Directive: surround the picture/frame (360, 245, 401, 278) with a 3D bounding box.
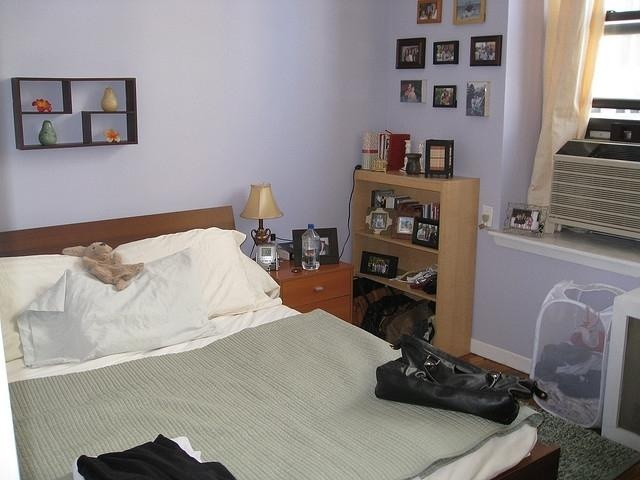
[{"bbox_3d":[0.503,0.191,3.825,0.227,0.168,0.025,8,8,29],"label":"picture/frame"}]

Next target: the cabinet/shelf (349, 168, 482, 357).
[{"bbox_3d":[0.746,0.173,3.417,0.363,1.473,1.151,-4,11,-34],"label":"cabinet/shelf"}]

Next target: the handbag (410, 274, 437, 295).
[{"bbox_3d":[0.805,0.338,3.448,0.171,0.067,0.105,-14,20,-35],"label":"handbag"}]

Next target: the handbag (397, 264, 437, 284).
[{"bbox_3d":[0.777,0.285,3.625,0.202,0.069,0.162,-22,18,-20],"label":"handbag"}]

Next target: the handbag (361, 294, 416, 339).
[{"bbox_3d":[0.534,0.557,3.625,0.322,0.142,0.340,7,23,25],"label":"handbag"}]

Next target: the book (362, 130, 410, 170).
[{"bbox_3d":[0.525,-0.712,3.752,0.291,0.376,0.364,-2,8,-34],"label":"book"}]

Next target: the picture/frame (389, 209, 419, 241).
[{"bbox_3d":[0.674,-0.117,3.609,0.192,0.241,0.022,14,10,36],"label":"picture/frame"}]

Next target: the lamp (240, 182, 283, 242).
[{"bbox_3d":[-0.434,-0.210,3.278,0.296,0.459,0.307,6,19,20],"label":"lamp"}]

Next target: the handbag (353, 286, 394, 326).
[{"bbox_3d":[0.418,0.498,3.656,0.104,0.312,0.227,12,-5,40],"label":"handbag"}]

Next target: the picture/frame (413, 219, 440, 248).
[{"bbox_3d":[0.809,-0.050,3.433,0.018,0.166,0.176,0,11,-38],"label":"picture/frame"}]

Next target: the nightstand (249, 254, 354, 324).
[{"bbox_3d":[-0.093,0.307,3.317,0.542,0.541,0.398,-10,16,-35],"label":"nightstand"}]

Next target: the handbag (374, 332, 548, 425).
[{"bbox_3d":[0.556,0.496,1.846,0.518,0.171,0.318,12,16,22],"label":"handbag"}]

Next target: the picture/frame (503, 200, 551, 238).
[{"bbox_3d":[1.437,-0.140,3.154,0.076,0.213,0.228,2,4,-44],"label":"picture/frame"}]

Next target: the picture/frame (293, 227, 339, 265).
[{"bbox_3d":[-0.032,0.052,3.321,0.244,0.222,0.019,-1,-7,-25],"label":"picture/frame"}]

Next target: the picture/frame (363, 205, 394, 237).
[{"bbox_3d":[0.493,-0.151,3.752,0.231,0.245,0.032,3,4,33],"label":"picture/frame"}]

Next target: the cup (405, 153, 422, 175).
[{"bbox_3d":[0.712,-0.572,3.481,0.150,0.197,0.139,0,8,0],"label":"cup"}]
